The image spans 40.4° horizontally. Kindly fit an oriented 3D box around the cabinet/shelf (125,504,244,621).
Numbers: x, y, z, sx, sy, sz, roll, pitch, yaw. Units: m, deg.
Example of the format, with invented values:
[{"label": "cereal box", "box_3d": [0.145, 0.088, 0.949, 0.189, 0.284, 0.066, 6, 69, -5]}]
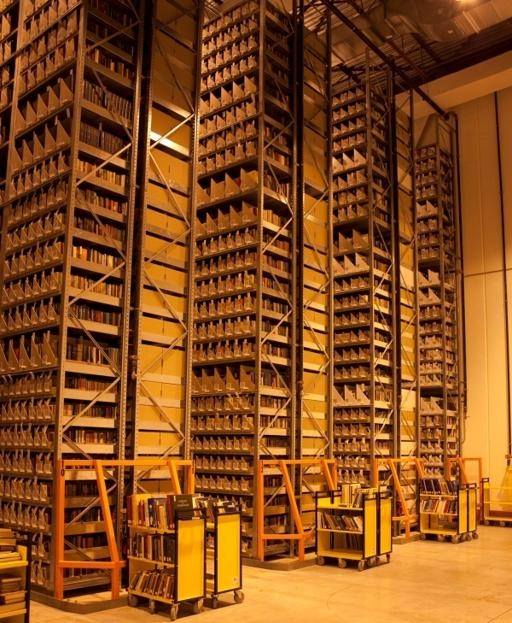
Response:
[{"label": "cabinet/shelf", "box_3d": [-0.776, 2.700, 8.161, 1.099, 1.668, 1.363, -7, -11, 38]}]
